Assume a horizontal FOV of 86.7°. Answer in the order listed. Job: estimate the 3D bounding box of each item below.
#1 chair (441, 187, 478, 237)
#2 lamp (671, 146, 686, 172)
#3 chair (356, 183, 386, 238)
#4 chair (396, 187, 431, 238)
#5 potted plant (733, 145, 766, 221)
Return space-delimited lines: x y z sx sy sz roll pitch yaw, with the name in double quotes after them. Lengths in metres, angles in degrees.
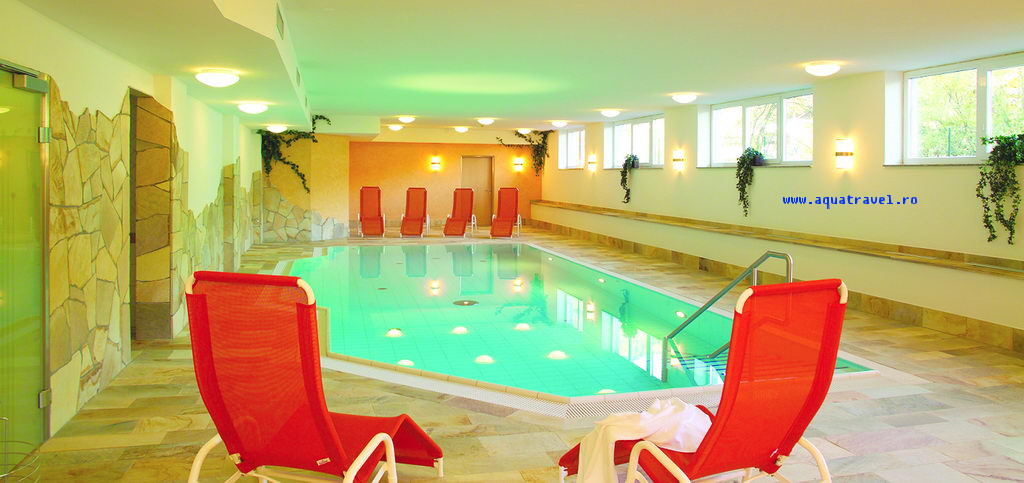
-1.846 -0.995 18.675 0.819 1.574 0.918 0 7 8 "chair"
4.289 -2.160 14.161 0.151 0.640 0.528 -3 6 -16 "lamp"
-4.722 -1.016 18.269 0.782 1.671 0.909 -3 7 -15 "chair"
-3.341 -1.012 18.480 0.790 1.654 1.123 -1 6 -1 "chair"
5.347 -1.359 12.342 0.614 1.547 0.310 3 8 29 "potted plant"
